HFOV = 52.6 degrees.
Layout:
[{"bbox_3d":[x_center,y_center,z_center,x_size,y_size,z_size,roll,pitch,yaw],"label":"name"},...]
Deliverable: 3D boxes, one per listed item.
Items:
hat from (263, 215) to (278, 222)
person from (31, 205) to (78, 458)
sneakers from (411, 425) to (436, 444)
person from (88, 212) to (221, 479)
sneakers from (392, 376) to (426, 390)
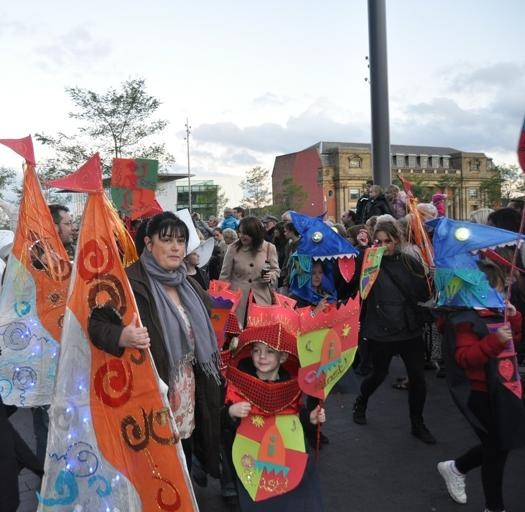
[{"bbox_3d":[0.243,-0.975,13.906,0.383,0.195,0.472,0,4,-4],"label":"hat"},{"bbox_3d":[-1.756,0.649,4.534,0.433,2.203,1.314,-3,2,-22],"label":"person"},{"bbox_3d":[1.523,1.666,5.033,0.148,0.139,0.301,-2,2,-14],"label":"sneakers"},{"bbox_3d":[-0.476,0.556,3.116,0.594,1.615,0.318,-4,3,-43],"label":"person"},{"bbox_3d":[1.835,1.654,6.891,0.328,0.127,0.107,-9,10,-18],"label":"sneakers"}]
